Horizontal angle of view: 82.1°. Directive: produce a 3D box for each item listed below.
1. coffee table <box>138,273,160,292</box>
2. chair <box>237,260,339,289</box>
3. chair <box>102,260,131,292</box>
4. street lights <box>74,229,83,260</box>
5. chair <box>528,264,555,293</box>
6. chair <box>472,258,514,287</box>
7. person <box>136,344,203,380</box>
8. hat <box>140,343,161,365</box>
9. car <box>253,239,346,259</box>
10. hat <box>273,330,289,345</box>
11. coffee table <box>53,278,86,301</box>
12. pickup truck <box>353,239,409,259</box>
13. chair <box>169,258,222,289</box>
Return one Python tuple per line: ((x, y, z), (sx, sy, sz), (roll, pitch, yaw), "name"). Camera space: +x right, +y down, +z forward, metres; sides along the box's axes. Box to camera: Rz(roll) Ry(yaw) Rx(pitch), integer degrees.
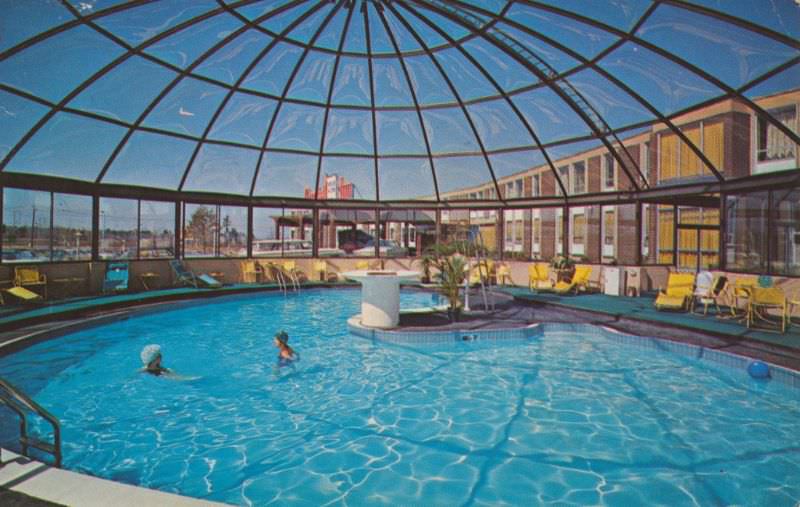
((-10.565, 1.117, 19.235), (0.664, 0.743, 1.164), (-3, 0, 3), "coffee table")
((-5.294, 0.791, 21.647), (4.199, 1.324, 0.966), (-2, 0, -24), "chair")
((-11.202, 0.872, 18.165), (0.880, 1.068, 0.462), (2, -7, -34), "chair")
((-12.770, -0.389, 18.232), (0.216, 1.268, 0.360), (-3, 0, -21), "street lights")
((6.066, 1.004, 19.849), (0.962, 1.118, 1.385), (-3, 0, 17), "chair")
((3.971, 0.909, 20.718), (1.682, 0.877, 1.575), (1, 1, -37), "chair")
((-5.709, 2.670, 11.363), (1.359, 0.486, 0.908), (5, -5, -12), "person")
((-6.062, 2.465, 11.186), (0.374, 0.556, 0.213), (-3, 0, -10), "hat")
((-5.705, -0.064, 24.443), (5.891, 1.166, 1.460), (-2, 5, -25), "car")
((-2.997, 2.157, 11.881), (0.397, 0.180, 0.382), (9, -5, 19), "hat")
((-12.374, 1.240, 17.053), (0.218, 0.651, 0.792), (0, -4, 35), "coffee table")
((-0.978, -0.206, 23.684), (2.702, 0.899, 2.106), (-2, 0, -2), "pickup truck")
((-8.883, 0.799, 19.741), (1.707, 1.303, 1.056), (-3, 0, 34), "chair")
